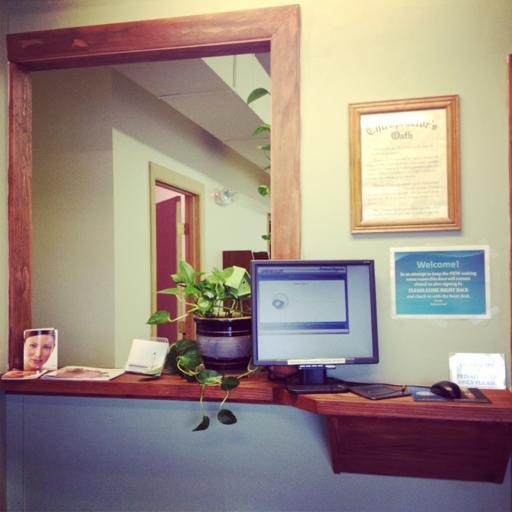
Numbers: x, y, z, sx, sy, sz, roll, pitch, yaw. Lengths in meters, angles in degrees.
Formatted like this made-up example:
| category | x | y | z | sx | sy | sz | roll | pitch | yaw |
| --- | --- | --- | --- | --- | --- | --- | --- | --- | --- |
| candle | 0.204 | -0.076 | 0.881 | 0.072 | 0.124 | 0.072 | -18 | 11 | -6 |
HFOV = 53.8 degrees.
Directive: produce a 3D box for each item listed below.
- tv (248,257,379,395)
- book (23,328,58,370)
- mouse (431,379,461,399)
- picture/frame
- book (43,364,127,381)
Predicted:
| category | x | y | z | sx | sy | sz | roll | pitch | yaw |
| --- | --- | --- | --- | --- | --- | --- | --- | --- | --- |
| tv | 0.196 | 0.218 | 1.636 | 0.471 | 0.416 | 0.144 | 0 | -11 | -1 |
| book | -0.816 | 0.345 | 1.902 | 0.111 | 0.150 | 0.098 | 4 | -3 | -28 |
| mouse | 0.581 | 0.404 | 1.534 | 0.075 | 0.042 | 0.046 | 1 | -19 | 24 |
| picture/frame | 0.522 | -0.299 | 1.701 | 0.514 | 0.585 | 0.047 | -1 | 1 | 4 |
| book | -0.621 | 0.428 | 1.858 | 0.283 | 0.021 | 0.198 | 0 | -1 | 11 |
